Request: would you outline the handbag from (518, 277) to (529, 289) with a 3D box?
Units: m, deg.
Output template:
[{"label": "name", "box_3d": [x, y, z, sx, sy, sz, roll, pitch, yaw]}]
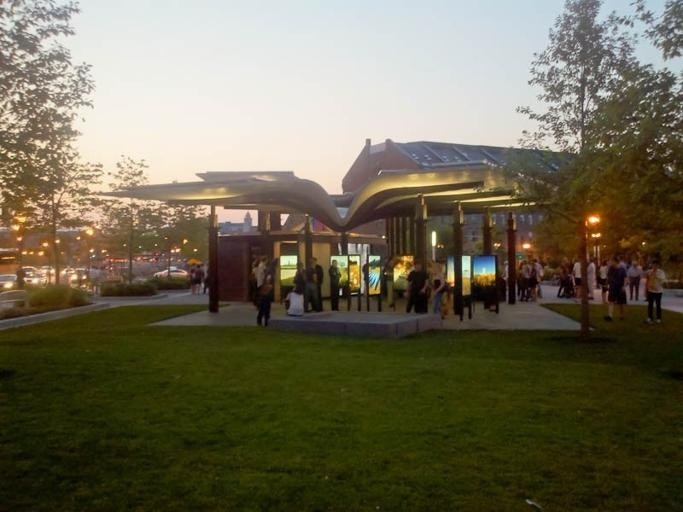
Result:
[{"label": "handbag", "box_3d": [9.808, 1.424, 29.849, 0.541, 0.590, 0.547, -2, 1, 8]}]
